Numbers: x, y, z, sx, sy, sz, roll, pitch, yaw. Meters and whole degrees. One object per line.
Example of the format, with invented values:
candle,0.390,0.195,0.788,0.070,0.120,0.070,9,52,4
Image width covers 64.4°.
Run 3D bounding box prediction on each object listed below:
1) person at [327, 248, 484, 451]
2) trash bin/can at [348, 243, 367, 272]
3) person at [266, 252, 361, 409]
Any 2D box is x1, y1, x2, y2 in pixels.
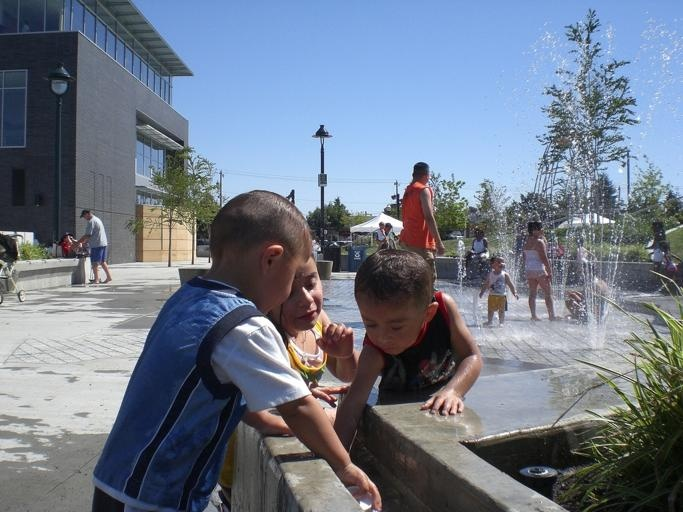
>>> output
person,0.279,0.363,2.431,0.541,0.779,1.033,-8,-3,35
trash bin/can,0.585,0.074,22.533,0.815,1.635,0.893,1,-3,-6
person,-0.131,0.413,2.584,0.456,0.859,0.598,1,21,1
